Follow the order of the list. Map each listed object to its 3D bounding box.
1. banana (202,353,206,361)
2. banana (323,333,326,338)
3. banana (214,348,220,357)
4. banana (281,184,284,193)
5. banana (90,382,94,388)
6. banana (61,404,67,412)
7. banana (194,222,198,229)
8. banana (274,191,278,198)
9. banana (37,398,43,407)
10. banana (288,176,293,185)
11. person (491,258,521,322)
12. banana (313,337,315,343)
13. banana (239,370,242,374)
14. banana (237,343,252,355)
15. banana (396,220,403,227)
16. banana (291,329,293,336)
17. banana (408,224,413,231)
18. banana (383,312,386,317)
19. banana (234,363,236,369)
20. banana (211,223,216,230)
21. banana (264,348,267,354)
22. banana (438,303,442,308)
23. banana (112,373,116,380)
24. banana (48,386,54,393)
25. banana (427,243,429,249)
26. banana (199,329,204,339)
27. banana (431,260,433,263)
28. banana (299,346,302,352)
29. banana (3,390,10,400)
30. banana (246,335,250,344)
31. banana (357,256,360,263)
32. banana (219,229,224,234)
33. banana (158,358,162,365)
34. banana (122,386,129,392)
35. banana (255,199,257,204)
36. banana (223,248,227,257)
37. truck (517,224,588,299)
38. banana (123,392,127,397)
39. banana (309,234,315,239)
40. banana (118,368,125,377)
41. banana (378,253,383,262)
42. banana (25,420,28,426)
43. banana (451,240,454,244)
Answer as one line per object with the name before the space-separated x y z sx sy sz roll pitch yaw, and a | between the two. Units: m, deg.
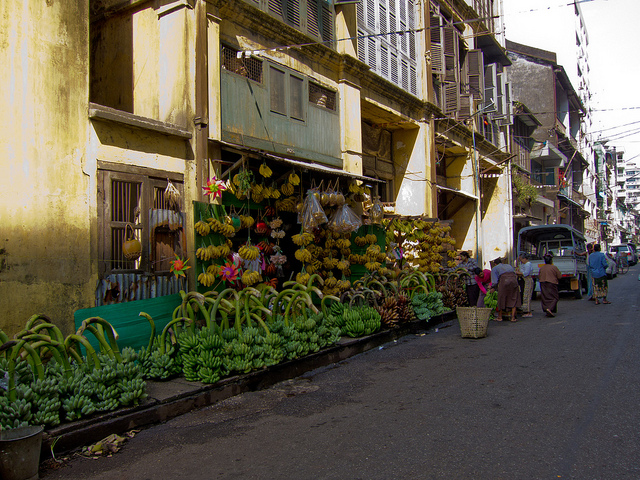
banana | -1.927 1.924 9.399 0.024 0.130 0.029 -16 3 -21
banana | 0.089 1.926 11.528 0.017 0.086 0.012 21 23 19
banana | -1.738 1.889 9.576 0.039 0.088 0.069 20 17 -3
banana | -0.932 -1.277 14.075 0.058 0.199 0.112 -3 4 -17
banana | -3.304 2.075 8.188 0.043 0.056 0.024 4 -5 -6
banana | -3.564 2.317 7.894 0.023 0.097 0.070 0 41 -11
banana | -2.650 -0.317 12.101 0.090 0.116 0.026 9 0 32
banana | -1.076 -1.111 13.834 0.073 0.124 0.035 -2 4 -7
banana | -3.827 2.205 7.740 0.028 0.061 0.101 0 34 28
banana | -0.737 -1.469 14.071 0.173 0.187 0.076 2 5 43
person | 4.961 1.332 15.110 0.748 1.668 0.537 0 4 21
banana | -0.121 1.942 11.083 0.019 0.086 0.042 2 5 42
banana | -1.358 2.228 9.645 0.039 0.052 0.013 -7 39 2
banana | -1.327 1.859 9.785 0.157 0.133 0.131 -4 -4 -23
banana | 2.620 -0.546 18.551 0.031 0.242 0.295 2 6 39
banana | -0.540 1.757 10.870 0.022 0.116 0.076 -1 3 12
banana | 3.066 -0.447 19.145 0.032 0.188 0.307 0 5 22
banana | 1.500 1.715 13.214 0.021 0.109 0.029 13 -16 43
banana | -1.437 2.107 9.562 0.040 0.086 0.017 0 -3 -23
banana | -2.332 -0.301 12.319 0.071 0.108 0.027 -3 4 -17
banana | -0.972 1.944 10.041 0.054 0.084 0.031 -14 2 -44
banana | 3.208 1.713 15.159 0.057 0.102 0.216 0 5 30
banana | -3.057 1.997 8.442 0.030 0.087 0.073 -2 4 -1
banana | -3.738 2.057 7.877 0.016 0.071 0.050 19 -12 31
banana | 3.741 0.196 19.649 0.039 0.196 0.073 1 5 37
banana | -2.068 1.616 9.848 0.022 0.145 0.037 -7 -27 -41
banana | 3.902 0.713 19.743 0.070 0.065 0.042 -4 4 -20
banana | -0.362 2.021 10.602 0.054 0.107 0.023 -3 4 -22
banana | -4.222 2.040 7.616 0.033 0.077 0.140 1 42 -45
banana | -1.274 1.743 10.037 0.055 0.164 0.057 -5 5 -41
banana | 1.103 0.535 16.277 0.073 0.168 0.027 -4 5 -30
banana | -2.185 -0.181 12.472 0.080 0.045 0.021 -46 4 -11
banana | -2.697 2.012 9.548 0.071 0.077 0.046 -2 4 -1
banana | -2.857 2.166 8.324 0.044 0.097 0.035 -26 -1 -17
banana | -1.530 -0.932 13.542 0.038 0.074 0.186 -3 4 -10
banana | -2.086 0.255 12.522 0.061 0.170 0.088 -3 4 -12
truck | 8.675 0.585 21.299 2.024 2.993 4.103 -1 1 31
banana | -2.852 2.230 8.270 0.030 0.052 0.011 -1 3 -14
banana | -0.219 -0.107 14.455 0.020 0.106 0.087 -14 -6 37
banana | -3.002 1.979 8.532 0.057 0.107 0.021 -20 -9 -38
banana | 1.797 0.526 17.069 0.116 0.259 0.244 -1 4 14
banana | -3.888 2.411 7.511 0.029 0.057 0.029 2 9 16
banana | 5.019 0.073 21.548 0.063 0.151 0.361 -1 5 10
